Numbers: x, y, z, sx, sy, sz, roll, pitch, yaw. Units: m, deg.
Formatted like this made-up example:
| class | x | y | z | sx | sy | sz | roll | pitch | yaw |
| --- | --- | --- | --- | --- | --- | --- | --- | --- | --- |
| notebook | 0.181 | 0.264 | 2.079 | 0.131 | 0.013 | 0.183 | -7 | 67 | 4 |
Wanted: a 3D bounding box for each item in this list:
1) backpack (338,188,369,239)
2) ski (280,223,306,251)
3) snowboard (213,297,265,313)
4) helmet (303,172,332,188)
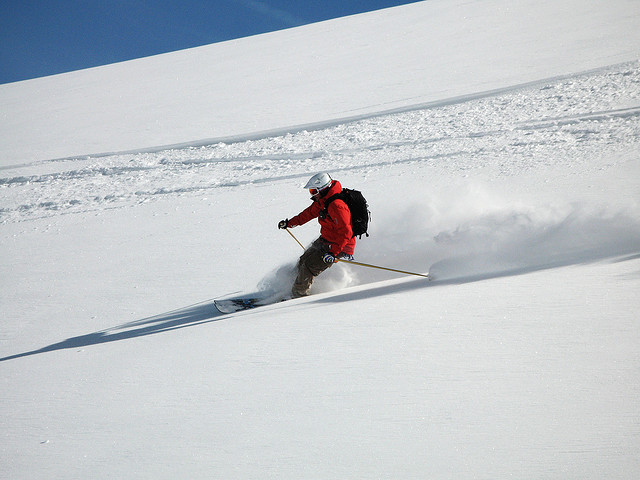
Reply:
| class | x | y | z | sx | sy | sz | roll | pitch | yaw |
| --- | --- | --- | --- | --- | --- | --- | --- | --- | --- |
| backpack | 0.610 | -0.421 | 14.064 | 0.422 | 0.819 | 0.750 | -14 | 49 | 2 |
| ski | -0.538 | -0.044 | 15.858 | 0.181 | 0.879 | 0.089 | -55 | 29 | -4 |
| snowboard | -1.431 | 1.124 | 14.127 | 0.618 | 0.072 | 0.276 | -3 | 23 | -21 |
| helmet | -0.042 | -1.013 | 13.974 | 0.444 | 0.243 | 0.260 | -2 | 49 | 8 |
